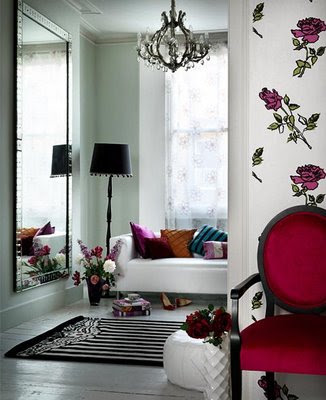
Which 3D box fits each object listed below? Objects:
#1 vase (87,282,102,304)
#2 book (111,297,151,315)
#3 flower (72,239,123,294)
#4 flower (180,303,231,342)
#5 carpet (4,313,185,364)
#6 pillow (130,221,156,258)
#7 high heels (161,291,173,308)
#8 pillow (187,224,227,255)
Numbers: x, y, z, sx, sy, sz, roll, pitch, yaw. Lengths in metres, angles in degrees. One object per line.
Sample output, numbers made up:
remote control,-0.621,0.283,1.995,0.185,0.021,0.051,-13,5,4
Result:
vase,-0.734,1.001,3.843,0.146,0.229,0.124,0,-4,-6
book,-0.304,1.043,3.527,0.388,0.142,0.212,0,-4,-9
flower,-0.699,0.767,3.898,0.466,0.660,0.465,8,-8,-38
flower,0.189,0.496,1.606,0.181,0.211,0.170,-2,-9,-24
carpet,-0.464,1.051,2.794,1.114,0.028,1.091,-1,-4,9
pillow,-0.243,0.445,4.079,0.100,0.362,0.348,-22,-21,23
high heels,0.044,1.044,3.739,0.091,0.147,0.212,1,-4,-21
pillow,0.495,0.436,4.162,0.348,0.388,0.124,19,-28,17
